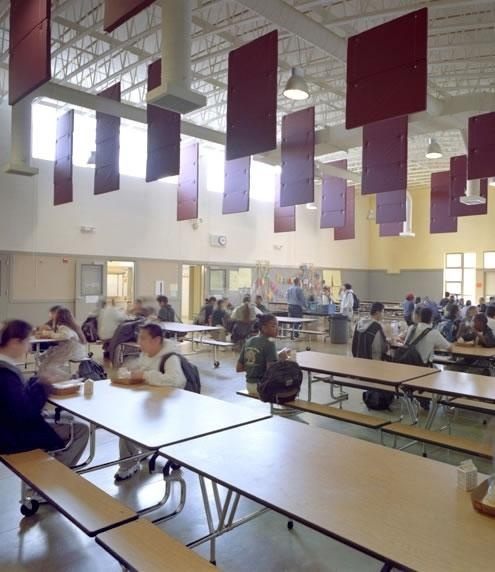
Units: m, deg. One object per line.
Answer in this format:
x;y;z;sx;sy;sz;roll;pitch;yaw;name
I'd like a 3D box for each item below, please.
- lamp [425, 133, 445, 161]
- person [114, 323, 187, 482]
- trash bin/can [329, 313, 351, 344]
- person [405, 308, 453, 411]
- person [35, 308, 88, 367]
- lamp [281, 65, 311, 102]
3.217;-2.443;8.443;0.209;0.456;0.822;1;0;23;lamp
-0.814;0.939;4.070;0.659;1.265;0.644;-3;3;-33;person
2.348;1.109;12.444;0.646;0.848;0.605;-1;1;-42;trash bin/can
2.092;0.823;5.658;0.575;1.256;0.517;15;35;39;person
-2.281;0.710;5.921;0.579;0.895;0.504;3;-2;-2;person
0.578;-2.553;6.023;0.289;0.418;0.383;1;0;3;lamp
